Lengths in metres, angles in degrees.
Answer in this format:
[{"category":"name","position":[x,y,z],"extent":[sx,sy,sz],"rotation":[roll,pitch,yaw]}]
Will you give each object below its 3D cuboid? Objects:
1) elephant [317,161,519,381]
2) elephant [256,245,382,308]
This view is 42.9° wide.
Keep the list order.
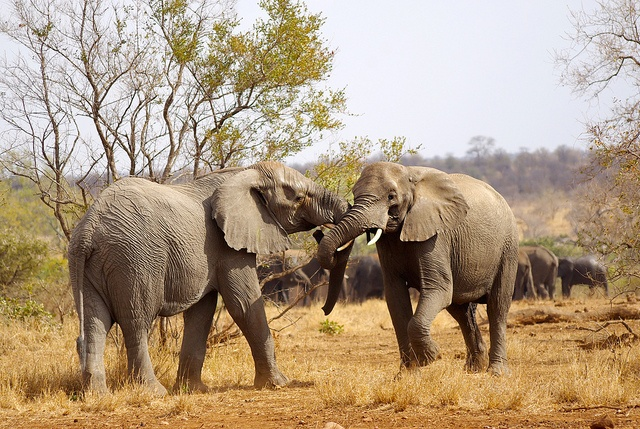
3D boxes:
[{"category":"elephant","position":[1.962,1.185,15.712],"extent":[4.473,4.153,2.225],"rotation":[10,-9,-32]},{"category":"elephant","position":[0.437,2.410,31.382],"extent":[4.465,3.082,2.186],"rotation":[-4,4,-22]}]
